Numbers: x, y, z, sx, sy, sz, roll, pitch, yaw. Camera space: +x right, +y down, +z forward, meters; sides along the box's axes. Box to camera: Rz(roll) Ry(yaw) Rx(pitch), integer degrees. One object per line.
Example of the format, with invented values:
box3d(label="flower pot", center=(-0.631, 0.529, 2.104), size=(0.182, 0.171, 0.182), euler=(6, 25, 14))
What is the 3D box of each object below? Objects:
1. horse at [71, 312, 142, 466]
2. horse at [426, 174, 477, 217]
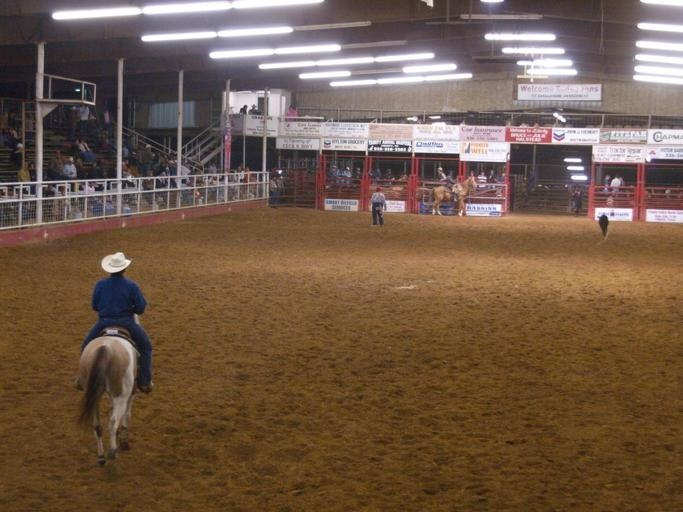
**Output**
box3d(label="horse", center=(-3.454, 1.936, 12.641), size=(0.814, 2.157, 3.092), euler=(2, -6, -8))
box3d(label="horse", center=(5.799, -3.275, 43.408), size=(2.203, 2.150, 1.642), euler=(2, 14, 5))
